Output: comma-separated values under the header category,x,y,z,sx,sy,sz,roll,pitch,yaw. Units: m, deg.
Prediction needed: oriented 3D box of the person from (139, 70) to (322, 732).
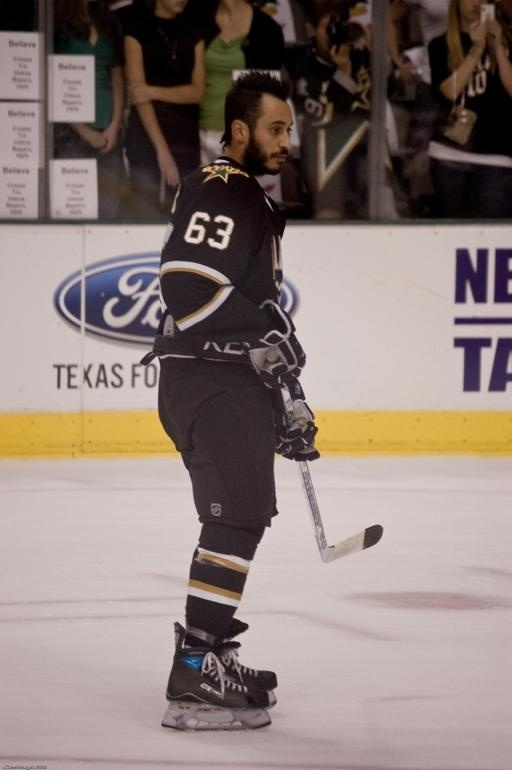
category,x,y,z,sx,sy,sz,roll,pitch,yaw
person,-0.049,-0.002,2.474,0.453,1.550,0.532,4,8,-7

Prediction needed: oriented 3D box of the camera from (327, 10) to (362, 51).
category,x,y,z,sx,sy,sz,roll,pitch,yaw
camera,0.444,-1.801,5.203,0.210,0.146,0.078,21,22,-17

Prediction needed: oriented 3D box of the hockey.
category,x,y,z,sx,sy,sz,roll,pitch,yaw
hockey,0.258,0.275,3.815,0.288,1.037,0.111,-19,45,11

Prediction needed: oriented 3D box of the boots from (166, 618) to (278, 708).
category,x,y,z,sx,sy,sz,roll,pitch,yaw
boots,-0.038,0.662,2.357,0.336,0.243,0.131,6,-18,-11
